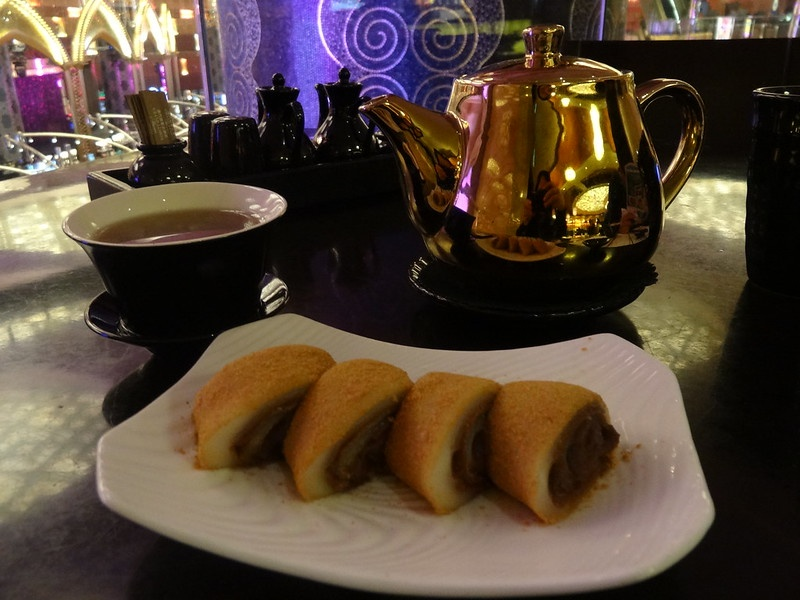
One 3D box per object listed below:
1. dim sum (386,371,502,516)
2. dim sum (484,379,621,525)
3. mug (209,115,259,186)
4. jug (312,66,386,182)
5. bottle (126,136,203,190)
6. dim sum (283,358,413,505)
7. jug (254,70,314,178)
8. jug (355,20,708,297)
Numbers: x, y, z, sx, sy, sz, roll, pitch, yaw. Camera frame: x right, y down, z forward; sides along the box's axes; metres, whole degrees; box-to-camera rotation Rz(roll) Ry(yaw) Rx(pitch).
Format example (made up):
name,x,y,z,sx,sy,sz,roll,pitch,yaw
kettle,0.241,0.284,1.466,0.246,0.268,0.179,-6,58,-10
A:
name,x,y,z,sx,sy,sz,roll,pitch,yaw
dim sum,0.040,0.098,0.407,0.103,0.077,0.053,-7,12,-43
dim sum,0.102,0.095,0.401,0.100,0.071,0.092,12,23,41
mug,-0.235,-0.215,0.784,0.093,0.093,0.056,2,11,6
jug,-0.088,-0.302,0.924,0.122,0.159,0.155,-15,28,-40
bottle,-0.318,-0.181,0.740,0.090,0.082,0.093,9,15,31
dim sum,-0.029,0.086,0.408,0.111,0.080,0.060,-1,15,-39
jug,-0.181,-0.279,0.866,0.114,0.154,0.150,-11,30,-22
jug,0.103,-0.159,0.577,0.300,0.210,0.217,-5,22,-9
